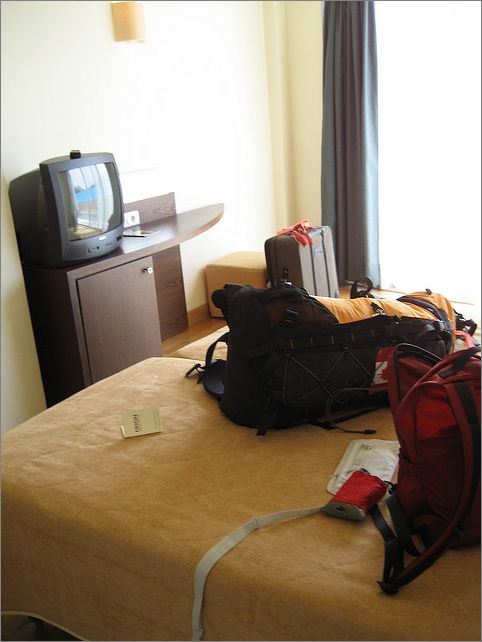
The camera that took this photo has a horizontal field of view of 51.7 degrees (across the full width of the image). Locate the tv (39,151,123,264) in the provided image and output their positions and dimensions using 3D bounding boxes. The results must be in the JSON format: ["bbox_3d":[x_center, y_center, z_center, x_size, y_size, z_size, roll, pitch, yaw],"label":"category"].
[{"bbox_3d":[-0.730,-0.498,2.238,0.237,0.467,0.390,11,25,19],"label":"tv"}]

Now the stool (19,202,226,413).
[{"bbox_3d":[-0.244,-0.066,2.550,1.172,0.629,0.408,-16,-16,-2],"label":"stool"}]

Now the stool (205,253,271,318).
[{"bbox_3d":[-0.025,-0.291,3.736,0.435,0.472,0.473,2,18,12],"label":"stool"}]

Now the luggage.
[{"bbox_3d":[0.370,-0.351,2.887,0.198,0.590,0.582,3,26,30],"label":"luggage"}]
